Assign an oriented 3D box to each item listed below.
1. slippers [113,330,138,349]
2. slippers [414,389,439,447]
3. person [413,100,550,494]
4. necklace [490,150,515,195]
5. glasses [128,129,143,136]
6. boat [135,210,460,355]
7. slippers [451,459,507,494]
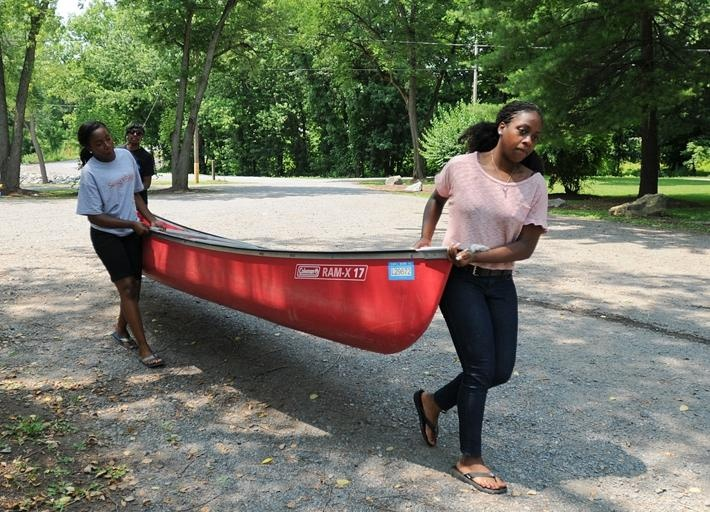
[{"bbox_3d":[-2.255,0.815,5.396,0.122,0.068,0.309,-27,27,-38],"label":"slippers"},{"bbox_3d":[0.502,1.171,3.982,0.141,0.373,0.170,-12,5,40],"label":"slippers"},{"bbox_3d":[0.879,0.241,3.618,0.733,2.468,0.739,-8,13,-23],"label":"person"},{"bbox_3d":[0.931,-0.540,3.435,0.128,0.196,0.083,-30,-7,12],"label":"necklace"},{"bbox_3d":[-2.640,-1.498,6.633,0.126,0.034,0.116,-2,4,-23],"label":"glasses"},{"bbox_3d":[-0.931,0.119,5.092,0.779,0.684,4.468,1,4,-42],"label":"boat"},{"bbox_3d":[0.784,1.423,3.526,0.311,0.072,0.166,12,19,35],"label":"slippers"}]
